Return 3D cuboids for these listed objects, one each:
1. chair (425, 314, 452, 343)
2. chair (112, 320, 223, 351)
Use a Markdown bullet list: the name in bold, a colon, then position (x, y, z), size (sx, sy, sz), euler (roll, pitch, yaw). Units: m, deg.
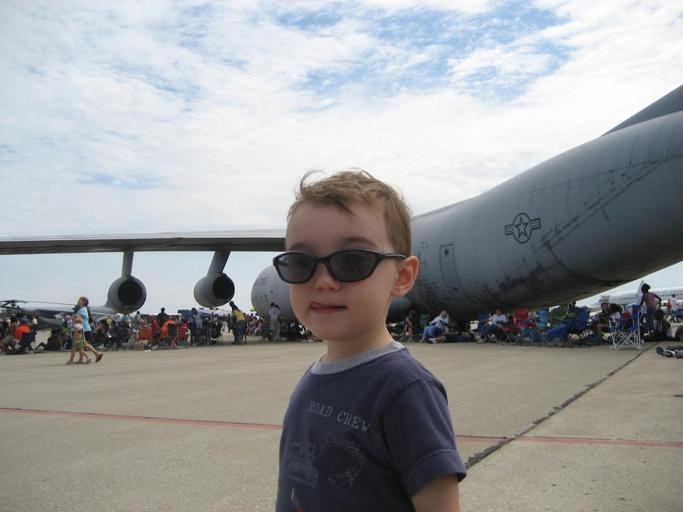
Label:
- **chair**: position (3.409, 2.619, 15.935), size (1.071, 1.075, 0.753), euler (-3, -6, -20)
- **chair**: position (-8.169, 3.499, 20.257), size (2.554, 1.347, 2.694), euler (2, -7, -24)
